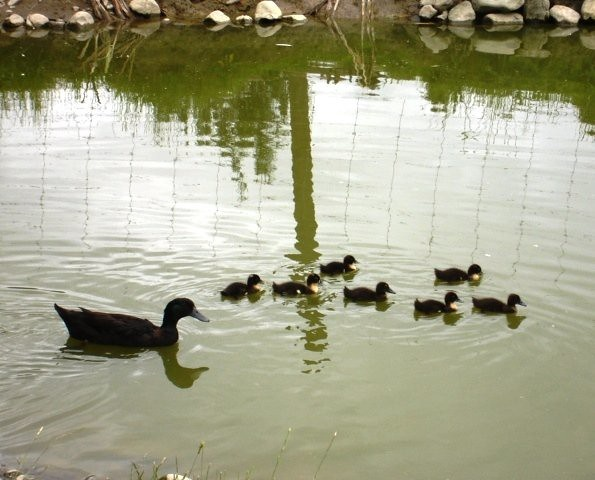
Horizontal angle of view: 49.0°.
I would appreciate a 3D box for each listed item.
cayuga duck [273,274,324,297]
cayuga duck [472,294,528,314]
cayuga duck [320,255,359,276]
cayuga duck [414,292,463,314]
[{"bbox_3d":[-0.001,0.848,11.872,0.974,0.397,0.353,0,1,-9],"label":"cayuga duck"},{"bbox_3d":[3.487,1.119,11.531,1.023,0.340,0.320,1,8,21],"label":"cayuga duck"},{"bbox_3d":[0.809,0.520,12.666,0.723,0.328,0.350,-1,5,-12],"label":"cayuga duck"},{"bbox_3d":[2.474,1.121,11.493,0.743,0.351,0.362,0,3,-3],"label":"cayuga duck"}]
